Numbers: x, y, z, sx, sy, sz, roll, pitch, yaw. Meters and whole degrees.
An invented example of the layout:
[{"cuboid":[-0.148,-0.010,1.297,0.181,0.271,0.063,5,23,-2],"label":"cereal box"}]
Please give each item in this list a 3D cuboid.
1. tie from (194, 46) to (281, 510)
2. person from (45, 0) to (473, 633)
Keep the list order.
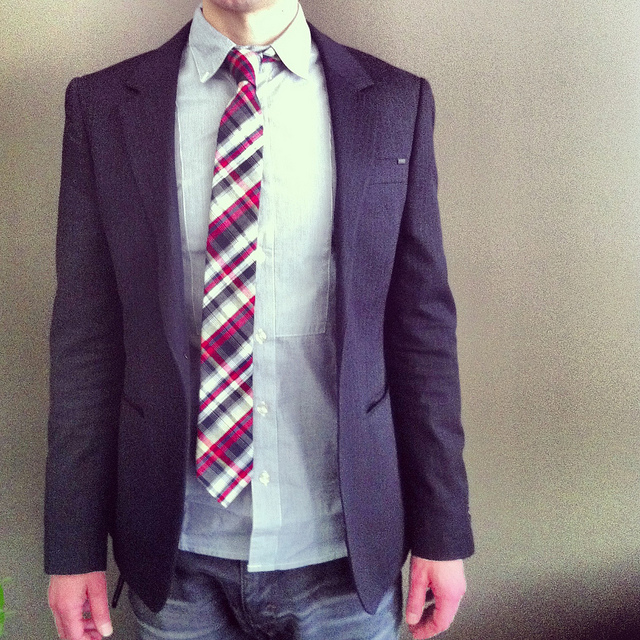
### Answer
[{"cuboid":[-0.140,-0.080,1.250,0.101,0.765,0.192,2,9,21],"label":"tie"},{"cuboid":[-0.110,0.023,1.306,0.745,1.149,0.307,-1,9,4],"label":"person"}]
